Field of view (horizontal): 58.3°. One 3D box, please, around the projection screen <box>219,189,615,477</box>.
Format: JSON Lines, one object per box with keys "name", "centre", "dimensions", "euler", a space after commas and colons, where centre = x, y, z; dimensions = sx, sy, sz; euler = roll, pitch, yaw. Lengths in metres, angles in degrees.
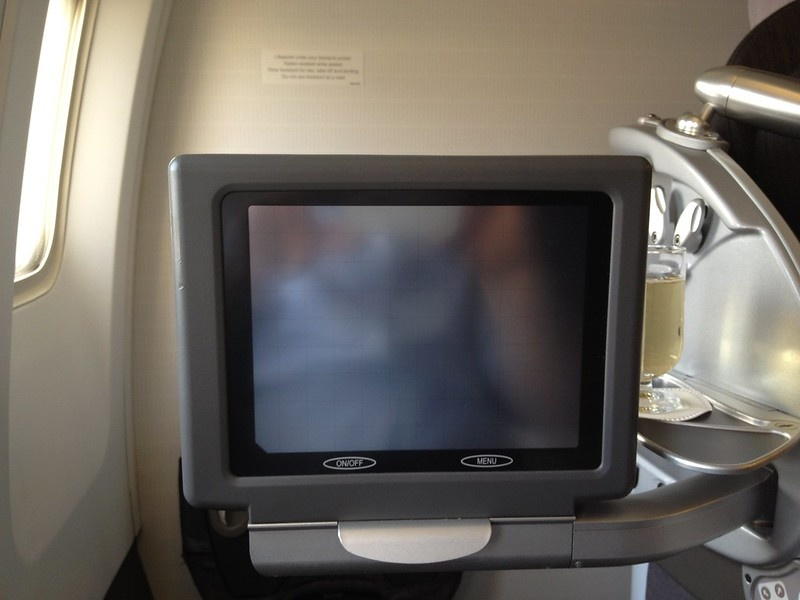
{"name": "projection screen", "centre": [0.009, 0.037, 1.236], "dimensions": [0.464, 0.360, 0.048], "euler": [1, 3, -7]}
